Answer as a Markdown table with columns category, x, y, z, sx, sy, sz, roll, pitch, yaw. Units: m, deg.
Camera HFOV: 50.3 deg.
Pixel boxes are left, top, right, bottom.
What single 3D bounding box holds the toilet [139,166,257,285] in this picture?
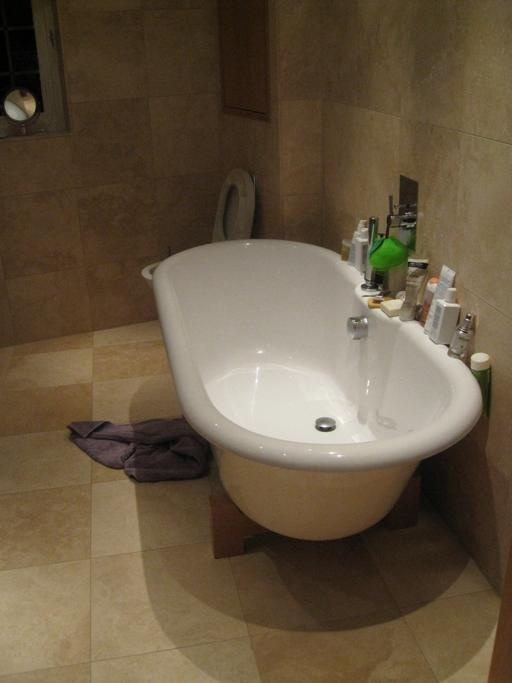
| category | x | y | z | sx | sy | sz | roll | pitch | yaw |
| --- | --- | --- | --- | --- | --- | --- | --- | --- | --- |
| toilet | -0.283 | -0.702 | 3.098 | 0.500 | 0.864 | 0.608 | -13 | 29 | -33 |

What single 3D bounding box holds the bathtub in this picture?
| category | x | y | z | sx | sy | sz | roll | pitch | yaw |
| --- | --- | --- | --- | --- | --- | --- | --- | --- | --- |
| bathtub | 0.069 | 0.117 | 1.938 | 0.779 | 0.683 | 1.819 | -3 | 27 | -14 |

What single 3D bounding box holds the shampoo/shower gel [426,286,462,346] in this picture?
| category | x | y | z | sx | sy | sz | roll | pitch | yaw |
| --- | --- | --- | --- | --- | --- | --- | --- | --- | --- |
| shampoo/shower gel | 0.528 | -0.068 | 1.522 | 0.046 | 0.172 | 0.068 | -3 | 38 | -14 |

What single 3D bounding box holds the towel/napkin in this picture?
| category | x | y | z | sx | sy | sz | roll | pitch | yaw |
| --- | --- | --- | --- | --- | --- | --- | --- | --- | --- |
| towel/napkin | -0.516 | 0.420 | 2.349 | 0.625 | 0.076 | 0.610 | 7 | 12 | -2 |

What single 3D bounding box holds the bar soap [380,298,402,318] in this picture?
| category | x | y | z | sx | sy | sz | roll | pitch | yaw |
| --- | --- | --- | --- | --- | --- | --- | --- | --- | --- |
| bar soap | 0.441 | -0.111 | 1.751 | 0.052 | 0.017 | 0.065 | -3 | 34 | 3 |
